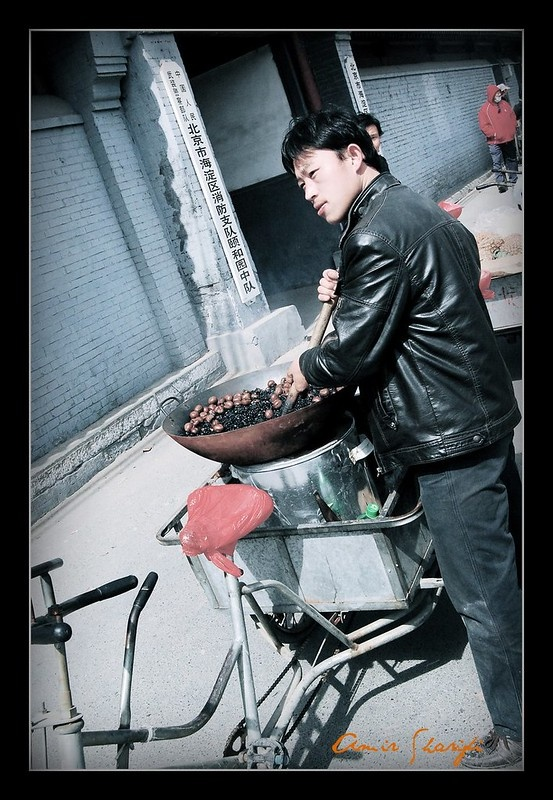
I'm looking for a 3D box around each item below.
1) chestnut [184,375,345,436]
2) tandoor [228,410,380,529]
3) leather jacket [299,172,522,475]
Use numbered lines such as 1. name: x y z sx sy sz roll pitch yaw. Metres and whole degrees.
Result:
1. chestnut: -0.119 -0.046 2.516 0.720 0.236 0.552 -5 12 -8
2. tandoor: 0.145 0.321 2.317 0.500 0.465 0.445 -27 9 -29
3. leather jacket: 0.478 -0.228 1.926 0.694 0.960 0.607 9 17 24
